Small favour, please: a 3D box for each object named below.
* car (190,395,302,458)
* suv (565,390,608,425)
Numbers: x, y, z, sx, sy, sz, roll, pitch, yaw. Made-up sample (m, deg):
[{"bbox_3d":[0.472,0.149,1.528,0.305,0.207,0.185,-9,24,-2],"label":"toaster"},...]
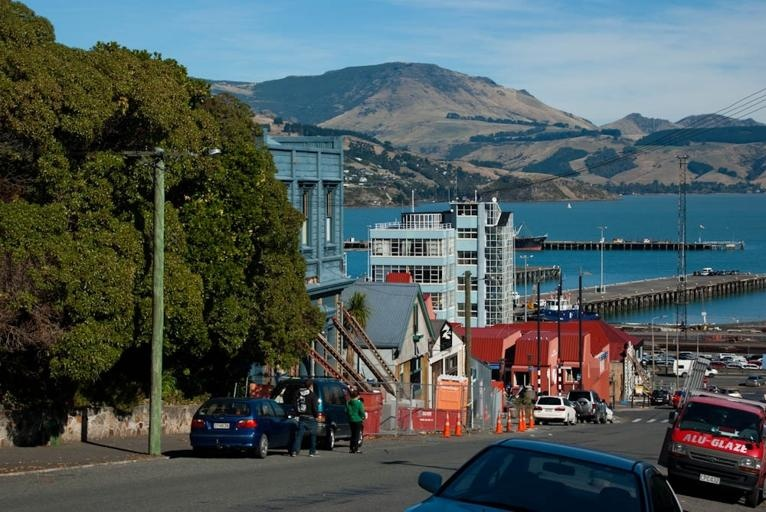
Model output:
[{"bbox_3d":[-4.900,6.302,51.137,2.125,1.907,5.293,-1,-4,15],"label":"car"},{"bbox_3d":[11.758,8.768,81.127,1.344,1.227,2.632,0,1,18],"label":"suv"}]
